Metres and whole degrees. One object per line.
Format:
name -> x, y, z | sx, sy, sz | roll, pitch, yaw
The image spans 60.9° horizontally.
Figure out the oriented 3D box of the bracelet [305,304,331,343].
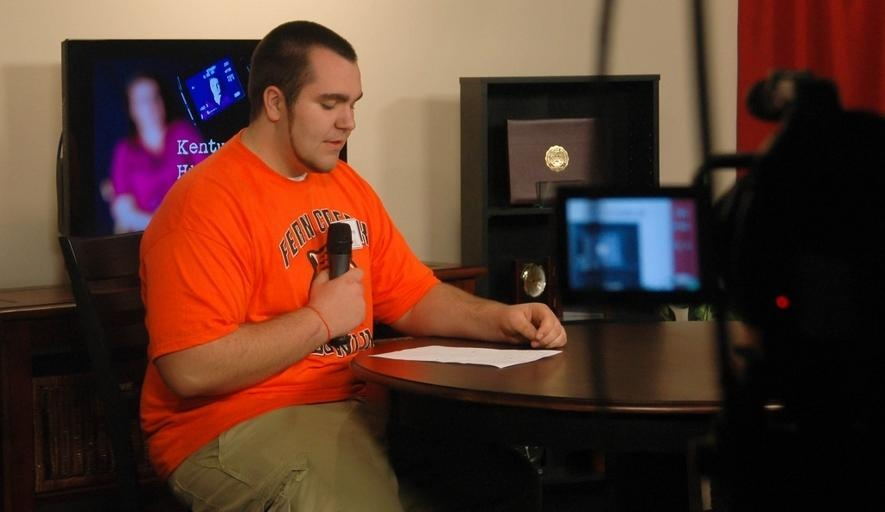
bracelet -> -0.247, 0.134, 1.517 | 0.049, 0.074, 0.026 | -3, 3, -9
